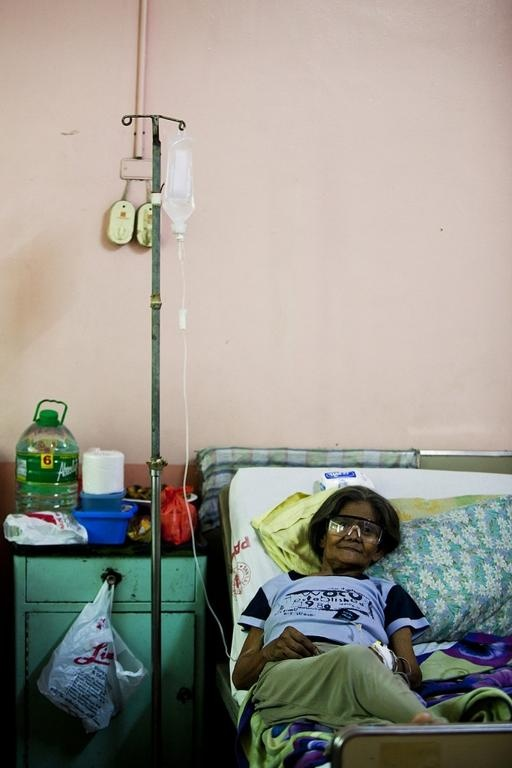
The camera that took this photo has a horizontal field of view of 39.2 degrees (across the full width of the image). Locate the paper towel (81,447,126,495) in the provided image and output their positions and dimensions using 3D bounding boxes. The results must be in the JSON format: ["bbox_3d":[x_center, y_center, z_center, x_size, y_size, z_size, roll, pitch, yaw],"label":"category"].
[{"bbox_3d":[-0.415,0.238,1.965,0.119,0.122,0.118,1,-1,-13],"label":"paper towel"}]

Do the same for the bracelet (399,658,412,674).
[{"bbox_3d":[0.312,0.594,1.513,0.015,0.021,0.008,3,-41,-16],"label":"bracelet"}]

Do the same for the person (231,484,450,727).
[{"bbox_3d":[0.157,0.479,1.518,0.428,0.385,0.710,0,3,7],"label":"person"}]
